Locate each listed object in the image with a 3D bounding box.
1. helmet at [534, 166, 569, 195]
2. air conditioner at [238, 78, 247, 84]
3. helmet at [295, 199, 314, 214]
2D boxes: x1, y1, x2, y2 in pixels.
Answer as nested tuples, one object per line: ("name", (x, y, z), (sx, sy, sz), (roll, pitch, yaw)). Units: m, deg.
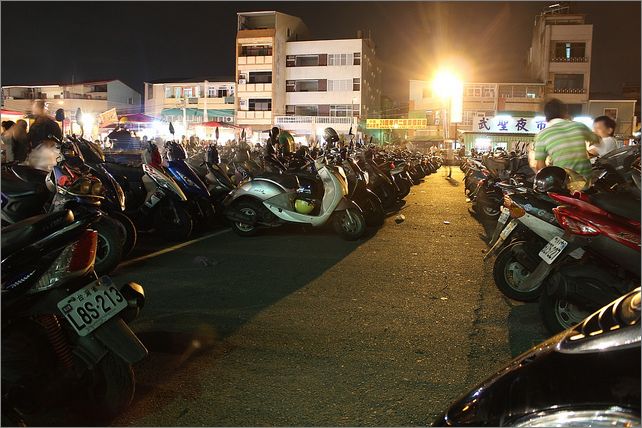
("helmet", (2.467, -0.379, 4.635), (0.317, 0.281, 0.256), (23, 18, 30))
("air conditioner", (-9.977, -17.049, 54.912), (1.068, 0.559, 0.261), (5, 13, 18))
("helmet", (-0.319, -0.145, 8.128), (0.305, 0.202, 0.247), (12, 3, -14))
